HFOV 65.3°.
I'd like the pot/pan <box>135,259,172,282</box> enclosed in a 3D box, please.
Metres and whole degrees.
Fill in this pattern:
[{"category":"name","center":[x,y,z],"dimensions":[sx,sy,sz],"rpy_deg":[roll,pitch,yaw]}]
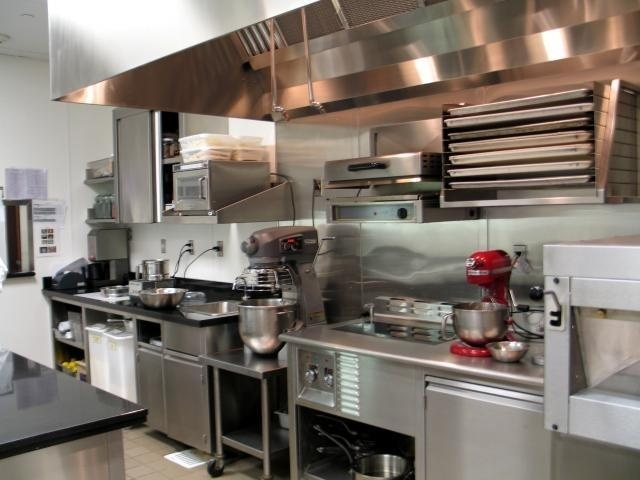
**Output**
[{"category":"pot/pan","center":[-1.440,0.275,4.304],"dimensions":[0.262,0.139,0.186],"rpy_deg":[-1,4,-31]}]

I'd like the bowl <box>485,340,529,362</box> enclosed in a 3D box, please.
[{"category":"bowl","center":[0.827,0.490,2.209],"dimensions":[0.170,0.066,0.200],"rpy_deg":[-2,4,3]}]

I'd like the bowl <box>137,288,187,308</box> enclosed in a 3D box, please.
[{"category":"bowl","center":[-1.156,0.441,3.759],"dimensions":[0.267,0.065,0.221],"rpy_deg":[-1,0,-36]}]

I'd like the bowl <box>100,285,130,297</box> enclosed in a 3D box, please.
[{"category":"bowl","center":[-1.864,0.471,4.523],"dimensions":[0.223,0.069,0.305],"rpy_deg":[-4,5,-23]}]

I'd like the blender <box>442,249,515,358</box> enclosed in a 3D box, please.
[{"category":"blender","center":[0.821,0.282,2.450],"dimensions":[0.297,0.444,0.568],"rpy_deg":[-2,5,23]}]

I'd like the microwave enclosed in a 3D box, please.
[{"category":"microwave","center":[-0.723,-0.368,3.678],"dimensions":[0.544,0.308,0.501],"rpy_deg":[-1,1,-42]}]
